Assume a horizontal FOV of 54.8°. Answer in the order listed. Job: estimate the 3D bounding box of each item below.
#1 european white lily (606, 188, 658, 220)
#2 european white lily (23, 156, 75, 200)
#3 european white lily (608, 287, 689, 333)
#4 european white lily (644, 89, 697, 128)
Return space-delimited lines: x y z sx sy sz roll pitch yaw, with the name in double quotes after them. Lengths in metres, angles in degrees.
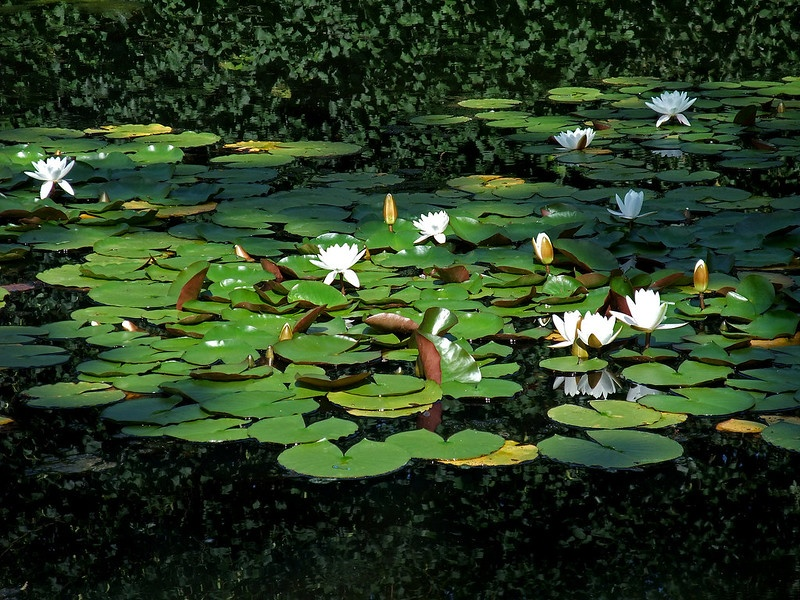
1.289 -0.538 4.303 0.289 0.124 0.325 8 12 37 "european white lily"
-2.173 -0.768 4.846 0.242 0.258 0.410 -12 15 -20 "european white lily"
1.005 0.037 3.171 0.273 0.092 0.278 -6 11 -19 "european white lily"
2.318 -1.641 6.625 0.348 0.317 0.560 -1 13 17 "european white lily"
